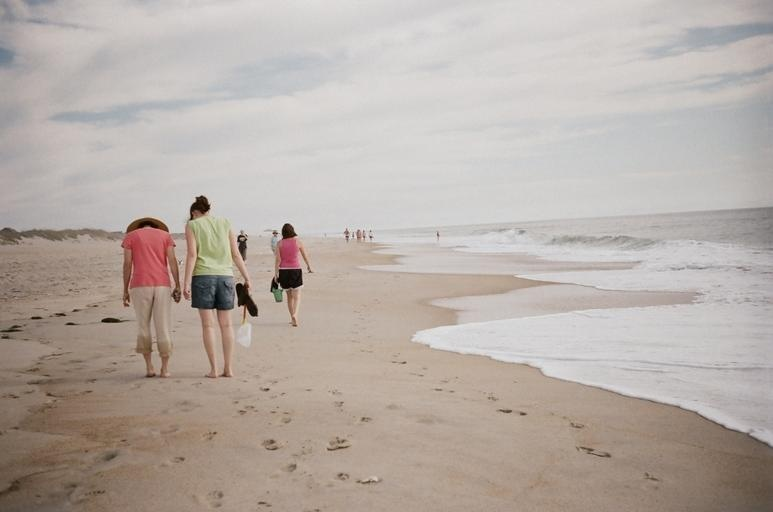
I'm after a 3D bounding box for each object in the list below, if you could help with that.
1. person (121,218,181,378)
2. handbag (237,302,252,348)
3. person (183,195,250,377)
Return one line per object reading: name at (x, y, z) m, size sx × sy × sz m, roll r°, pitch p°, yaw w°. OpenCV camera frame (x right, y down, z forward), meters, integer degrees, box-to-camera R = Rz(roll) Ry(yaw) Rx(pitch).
person at (-3.753, 0.663, 9.025) m, size 0.850 × 1.937 × 0.478 m, roll -5°, pitch 3°, yaw -16°
handbag at (-2.482, 1.261, 9.761) m, size 0.350 × 0.720 × 0.306 m, roll 5°, pitch -2°, yaw -8°
person at (-2.754, 0.485, 9.067) m, size 0.996 × 2.047 × 0.894 m, roll -5°, pitch 3°, yaw -18°
